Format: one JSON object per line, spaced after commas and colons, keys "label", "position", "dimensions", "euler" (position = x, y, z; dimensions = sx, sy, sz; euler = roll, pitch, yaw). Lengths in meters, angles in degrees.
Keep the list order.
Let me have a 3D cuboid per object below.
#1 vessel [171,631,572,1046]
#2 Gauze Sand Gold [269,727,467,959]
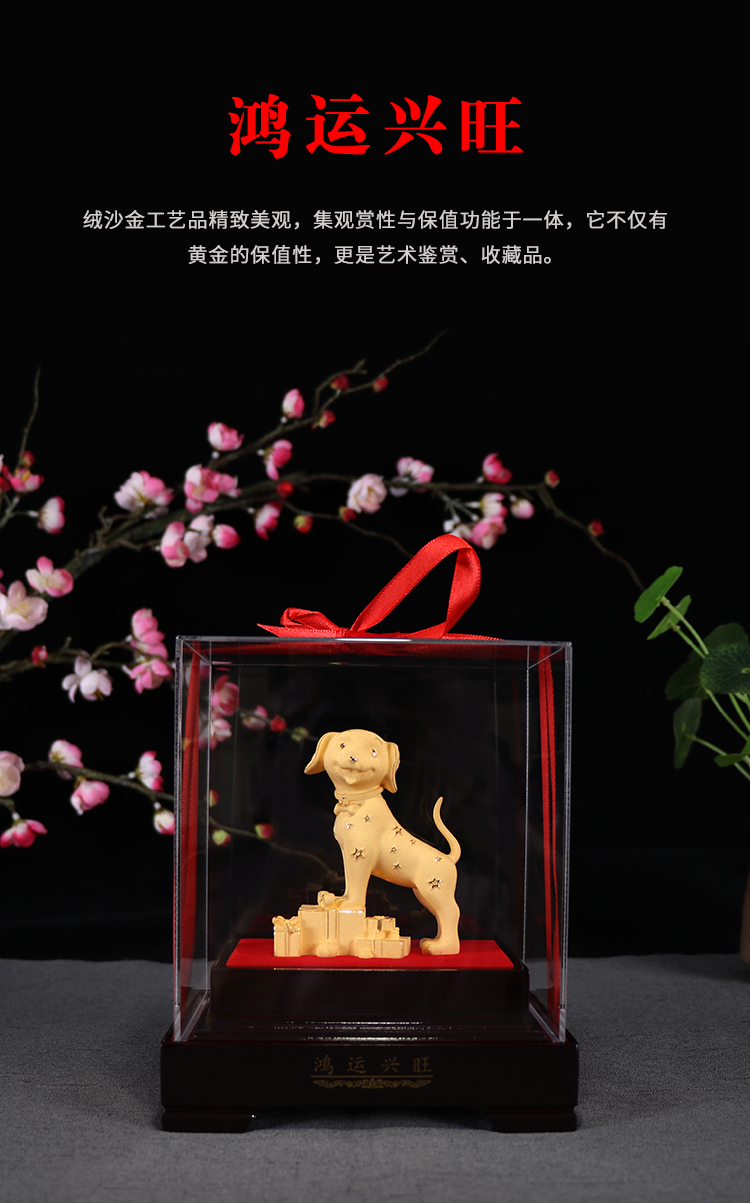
{"label": "vessel", "position": [-0.006, 0.242, 1.090], "dimensions": [0.394, 0.381, 0.134], "euler": [0, -5, -2]}
{"label": "Gauze Sand Gold", "position": [-0.006, 0.239, 1.090], "dimensions": [0.183, 0.218, 0.072], "euler": [0, 0, 4]}
